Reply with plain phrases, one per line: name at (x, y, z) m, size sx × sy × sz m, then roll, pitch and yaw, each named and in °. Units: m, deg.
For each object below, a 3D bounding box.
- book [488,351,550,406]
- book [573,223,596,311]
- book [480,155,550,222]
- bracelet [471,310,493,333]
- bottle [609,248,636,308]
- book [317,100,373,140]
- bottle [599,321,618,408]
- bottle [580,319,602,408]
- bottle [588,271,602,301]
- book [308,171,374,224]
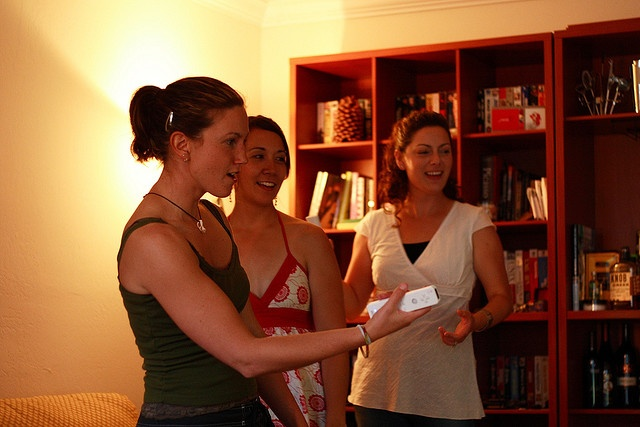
book at (1.320, 1.021, 3.708) m, size 0.301 × 0.444 × 0.410 m, roll 1°, pitch 3°, yaw 13°
book at (1.677, 0.361, 3.555) m, size 0.078 × 0.623 × 0.529 m, roll 1°, pitch -1°, yaw 21°
book at (1.294, -0.156, 3.731) m, size 0.437 × 0.437 × 0.165 m, roll 0°, pitch -7°, yaw 14°
bracelet at (0.691, 0.460, 2.383) m, size 0.043 × 0.085 × 0.094 m, roll -9°, pitch -29°, yaw -13°
bottle at (1.914, 0.408, 3.524) m, size 0.166 × 0.421 × 0.148 m, roll -2°, pitch 0°, yaw 23°
book at (0.201, -0.693, 4.122) m, size 0.295 × 0.298 × 0.143 m, roll -3°, pitch -10°, yaw 17°
bottle at (1.868, 0.982, 3.628) m, size 0.089 × 0.582 × 0.253 m, roll -2°, pitch 0°, yaw 27°
bottle at (1.767, 1.009, 3.632) m, size 0.116 × 0.535 × 0.199 m, roll -2°, pitch 0°, yaw 25°
bottle at (1.752, 0.456, 3.552) m, size 0.101 × 0.205 × 0.058 m, roll -2°, pitch 0°, yaw -21°
book at (0.185, -0.087, 4.139) m, size 0.360 × 0.492 × 0.505 m, roll -1°, pitch -4°, yaw 27°
